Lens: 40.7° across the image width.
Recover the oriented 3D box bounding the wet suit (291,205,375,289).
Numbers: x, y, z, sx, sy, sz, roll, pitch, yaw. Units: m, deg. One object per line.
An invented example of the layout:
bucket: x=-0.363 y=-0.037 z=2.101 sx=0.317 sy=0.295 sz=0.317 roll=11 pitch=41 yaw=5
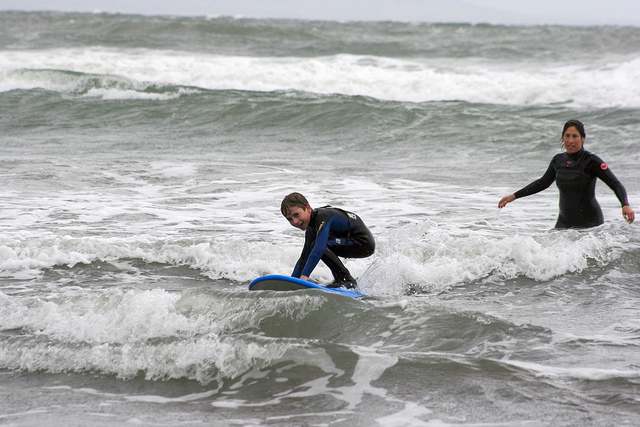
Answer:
wet suit: x=0.246 y=0.557 z=14.362 sx=1.482 sy=1.324 sz=0.667 roll=0 pitch=8 yaw=-34

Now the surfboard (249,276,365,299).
surfboard: x=-0.473 y=1.112 z=13.310 sx=1.330 sy=0.133 sz=0.647 roll=1 pitch=0 yaw=35
